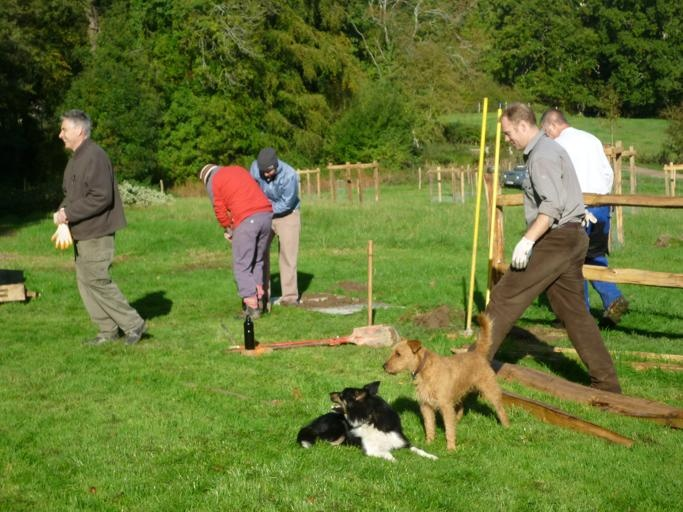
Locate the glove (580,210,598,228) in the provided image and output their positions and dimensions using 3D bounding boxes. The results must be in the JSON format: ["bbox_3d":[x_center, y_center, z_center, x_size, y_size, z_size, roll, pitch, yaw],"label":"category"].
[{"bbox_3d":[5.349,-0.795,21.835,0.165,0.406,0.353,-7,14,35],"label":"glove"}]

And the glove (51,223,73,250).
[{"bbox_3d":[-6.851,-0.429,24.485,0.482,0.681,0.173,-4,23,-23],"label":"glove"}]

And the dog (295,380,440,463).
[{"bbox_3d":[0.424,3.286,20.178,2.434,1.284,1.392,5,3,1],"label":"dog"}]

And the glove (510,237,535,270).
[{"bbox_3d":[3.666,-0.056,20.334,0.463,0.659,0.196,1,11,10],"label":"glove"}]
